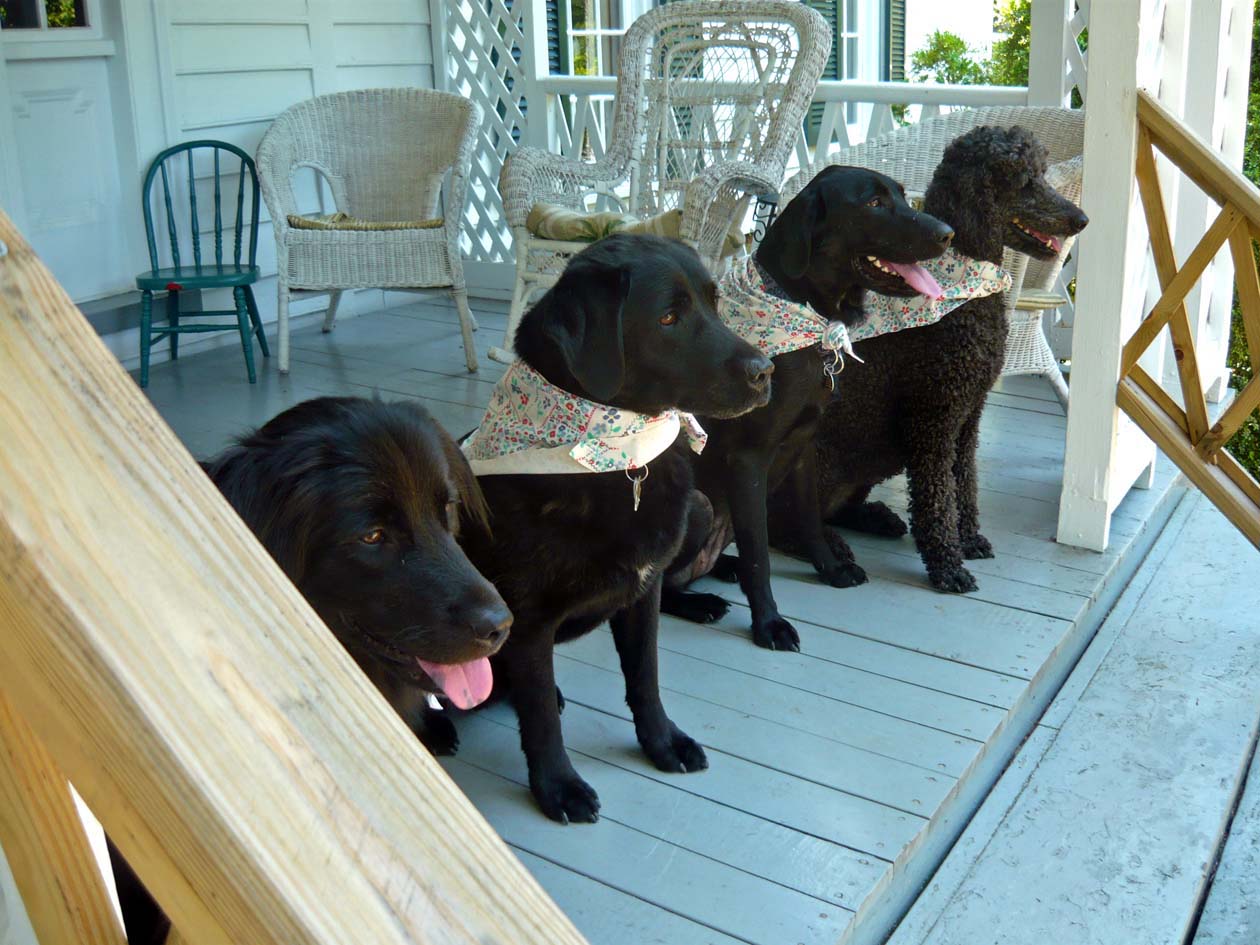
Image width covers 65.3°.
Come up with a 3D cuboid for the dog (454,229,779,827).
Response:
[{"bbox_3d":[-0.051,0.105,1.870,0.588,1.059,0.338,-12,21,-26],"label":"dog"}]

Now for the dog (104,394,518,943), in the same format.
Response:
[{"bbox_3d":[-0.253,0.126,1.260,0.737,0.394,0.301,8,11,24],"label":"dog"}]
